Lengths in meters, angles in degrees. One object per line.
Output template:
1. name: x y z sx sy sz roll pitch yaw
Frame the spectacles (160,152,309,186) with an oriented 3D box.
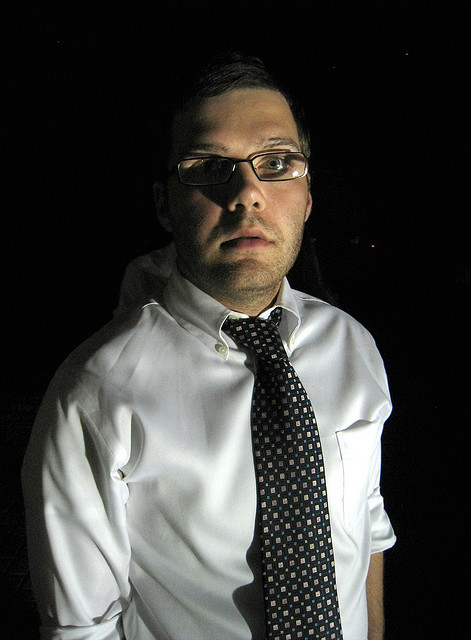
1. spectacles: 0.009 -0.323 1.502 0.299 0.082 0.095 4 22 -5

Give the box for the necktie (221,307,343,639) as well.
1. necktie: 0.113 0.300 1.399 0.169 0.615 0.057 -4 -7 -4
